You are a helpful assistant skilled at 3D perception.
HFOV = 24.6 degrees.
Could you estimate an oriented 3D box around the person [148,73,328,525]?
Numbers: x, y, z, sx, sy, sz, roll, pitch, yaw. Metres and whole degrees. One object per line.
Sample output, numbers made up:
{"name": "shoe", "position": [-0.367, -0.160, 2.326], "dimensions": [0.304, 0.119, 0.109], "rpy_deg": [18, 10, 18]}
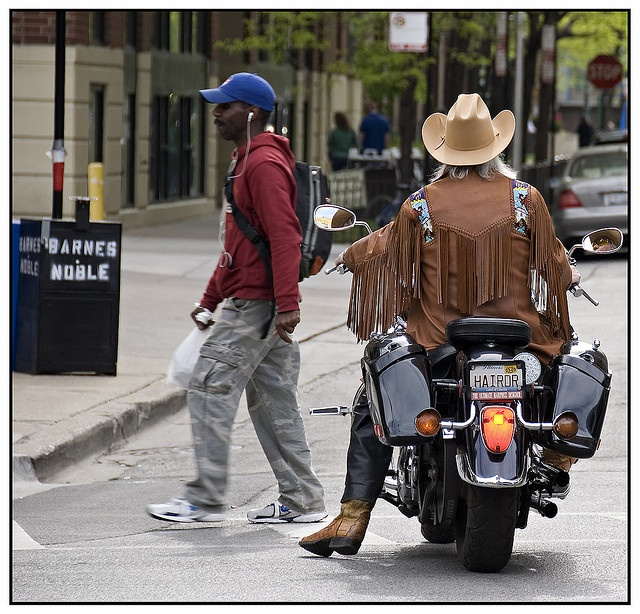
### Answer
{"name": "person", "position": [-0.455, -0.031, 7.865], "dimensions": [1.021, 2.258, 0.952], "rpy_deg": [1, 1, 11]}

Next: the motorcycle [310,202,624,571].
{"name": "motorcycle", "position": [0.715, 0.504, 7.119], "dimensions": [1.040, 1.183, 1.727], "rpy_deg": [1, 2, -5]}

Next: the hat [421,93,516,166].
{"name": "hat", "position": [0.698, -0.869, 6.896], "dimensions": [0.438, 0.247, 0.558], "rpy_deg": [-10, 23, -4]}

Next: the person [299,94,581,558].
{"name": "person", "position": [0.686, 0.075, 7.109], "dimensions": [0.857, 2.089, 1.466], "rpy_deg": [1, 2, 16]}

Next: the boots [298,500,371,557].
{"name": "boots", "position": [0.066, 1.041, 6.946], "dimensions": [0.349, 0.273, 0.130], "rpy_deg": [-11, -43, 40]}
